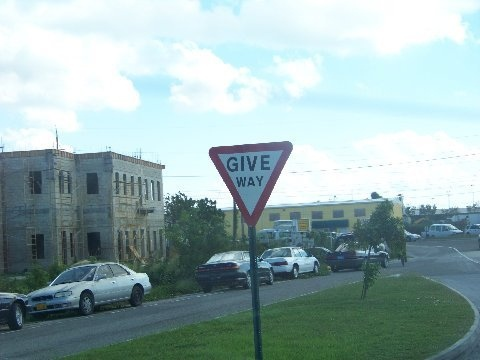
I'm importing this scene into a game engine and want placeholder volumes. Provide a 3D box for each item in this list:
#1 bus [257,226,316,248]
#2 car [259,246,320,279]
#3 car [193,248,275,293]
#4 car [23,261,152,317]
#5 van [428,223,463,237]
[{"bbox_3d":[3.816,4.850,52.009,4.789,1.800,1.734,-1,2,-22],"label":"bus"},{"bbox_3d":[2.534,4.263,33.485,1.281,1.051,2.919,-2,-1,29],"label":"car"},{"bbox_3d":[-0.259,4.153,29.165,3.232,1.805,1.776,2,-5,-34],"label":"car"},{"bbox_3d":[-5.212,3.890,23.130,1.604,1.286,3.663,-7,-10,28],"label":"car"},{"bbox_3d":[25.426,6.430,80.937,2.507,1.649,5.680,0,-5,-9],"label":"van"}]
